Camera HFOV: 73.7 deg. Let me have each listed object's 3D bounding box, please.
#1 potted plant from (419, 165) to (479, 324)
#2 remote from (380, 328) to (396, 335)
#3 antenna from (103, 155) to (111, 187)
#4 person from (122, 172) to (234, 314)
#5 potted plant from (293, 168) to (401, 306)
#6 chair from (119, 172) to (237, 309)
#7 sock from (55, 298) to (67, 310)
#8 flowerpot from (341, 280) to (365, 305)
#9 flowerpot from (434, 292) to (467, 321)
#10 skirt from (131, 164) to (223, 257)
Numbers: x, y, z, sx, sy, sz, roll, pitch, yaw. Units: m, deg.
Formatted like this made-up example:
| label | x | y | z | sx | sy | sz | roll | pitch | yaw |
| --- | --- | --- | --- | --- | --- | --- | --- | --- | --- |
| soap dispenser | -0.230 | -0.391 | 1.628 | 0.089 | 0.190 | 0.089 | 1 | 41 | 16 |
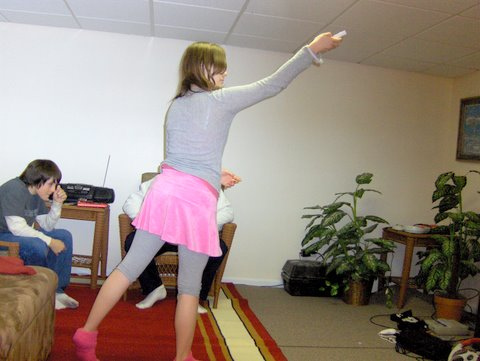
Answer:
| label | x | y | z | sx | sy | sz | roll | pitch | yaw |
| --- | --- | --- | --- | --- | --- | --- | --- | --- | --- |
| potted plant | 2.297 | 0.609 | 3.464 | 0.571 | 1.673 | 1.311 | 4 | -3 | 30 |
| remote | 1.283 | 1.309 | 2.769 | 0.111 | 0.022 | 0.164 | 4 | -3 | 31 |
| antenna | -1.546 | -0.117 | 3.694 | 0.045 | 0.374 | 0.039 | 7 | -3 | -32 |
| person | -0.476 | 0.653 | 3.052 | 0.813 | 1.037 | 0.682 | 9 | -28 | -6 |
| potted plant | 1.148 | 0.691 | 3.652 | 1.082 | 1.447 | 1.093 | -1 | -1 | -1 |
| chair | -0.578 | 0.604 | 3.350 | 1.158 | 1.472 | 1.189 | 3 | -12 | -3 |
| sock | -1.406 | 0.970 | 2.506 | 0.081 | 0.099 | 0.076 | 7 | -3 | -29 |
| flowerpot | 1.205 | 1.187 | 3.432 | 0.209 | 0.239 | 0.220 | 2 | -5 | -1 |
| flowerpot | 2.079 | 1.253 | 3.146 | 0.318 | 0.241 | 0.183 | 6 | -2 | -6 |
| skirt | -0.259 | 0.086 | 1.524 | 0.432 | 0.441 | 0.301 | 21 | 19 | 31 |
